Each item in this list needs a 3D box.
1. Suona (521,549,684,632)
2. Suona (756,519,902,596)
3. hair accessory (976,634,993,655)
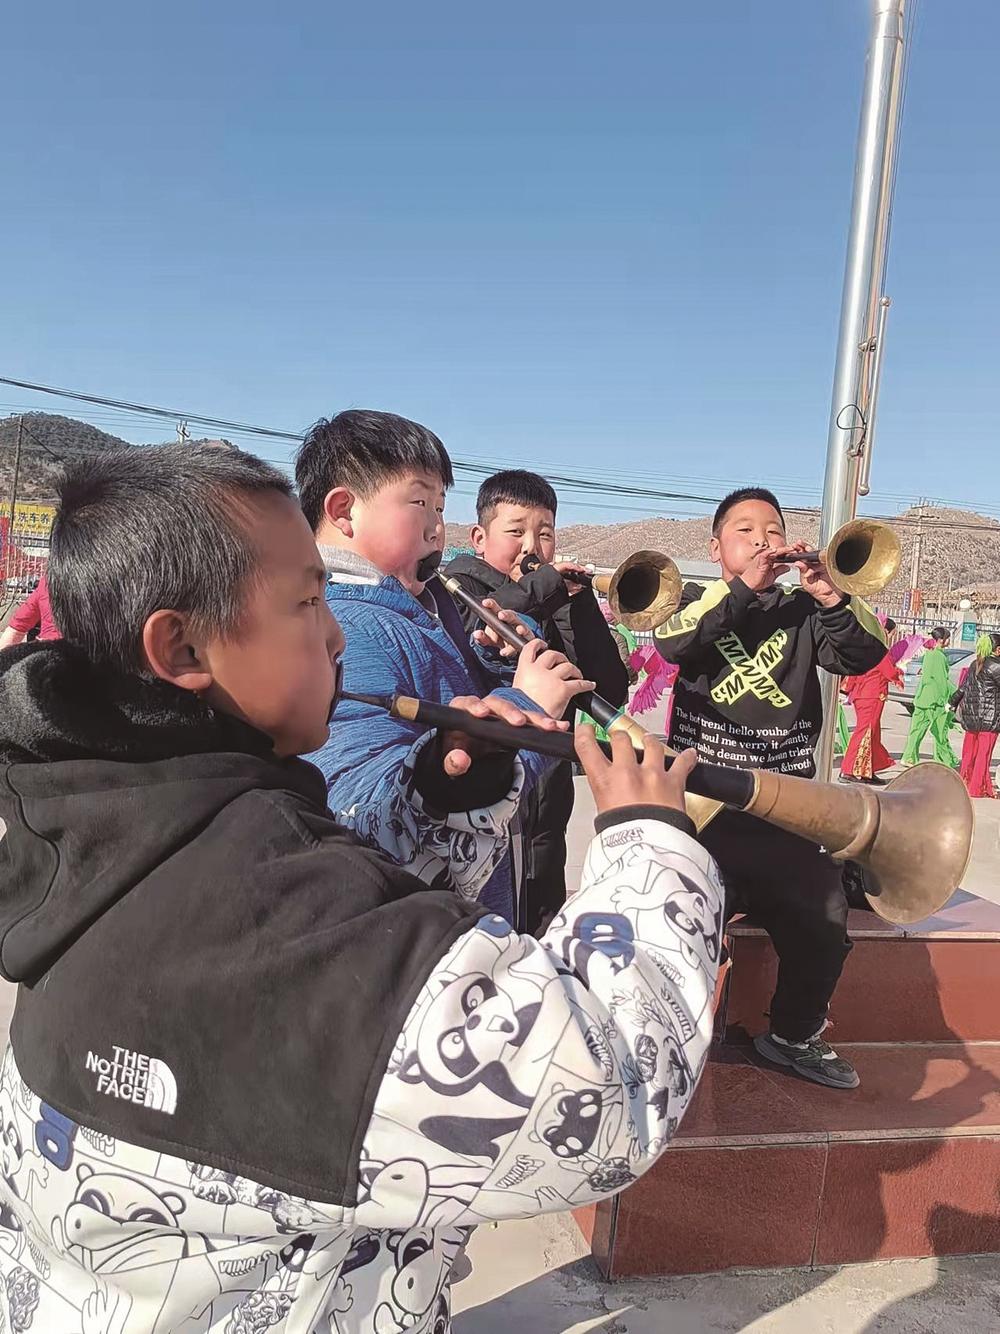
[{"bbox_3d":[0.411,-0.299,4.201,0.295,0.278,0.555,-13,11,-34],"label":"Suona"},{"bbox_3d":[1.251,-0.426,4.166,0.293,0.281,0.544,30,-14,-25],"label":"Suona"},{"bbox_3d":[4.397,-0.209,9.778,0.158,0.194,0.149,-13,16,-26],"label":"hair accessory"}]
